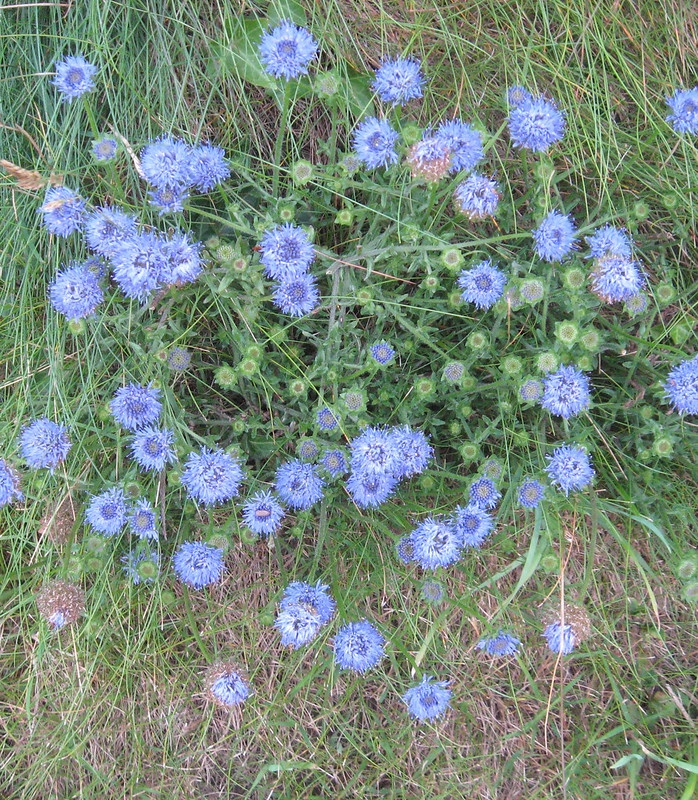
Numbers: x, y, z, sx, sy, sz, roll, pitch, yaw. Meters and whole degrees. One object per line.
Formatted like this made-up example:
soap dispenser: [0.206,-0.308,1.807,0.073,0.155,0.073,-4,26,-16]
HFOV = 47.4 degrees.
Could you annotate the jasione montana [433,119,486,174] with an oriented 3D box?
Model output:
jasione montana: [0.408,-0.964,2.997,0.143,0.154,0.222,-4,113,-5]

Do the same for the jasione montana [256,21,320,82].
jasione montana: [-0.243,-1.286,2.961,0.242,0.286,0.269,-6,113,-13]

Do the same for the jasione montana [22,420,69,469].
jasione montana: [-1.158,0.170,3.050,0.136,0.137,0.136,24,98,-10]

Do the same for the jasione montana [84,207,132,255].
jasione montana: [-0.910,-0.667,3.023,0.202,0.091,0.203,-5,83,-1]

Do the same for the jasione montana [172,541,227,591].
jasione montana: [-0.579,0.647,3.159,0.194,0.133,0.198,17,103,5]

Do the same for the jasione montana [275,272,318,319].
jasione montana: [-0.192,-0.386,2.983,0.159,0.070,0.164,-22,95,2]

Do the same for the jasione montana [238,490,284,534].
jasione montana: [-0.324,0.415,2.981,0.153,0.071,0.154,11,82,-9]

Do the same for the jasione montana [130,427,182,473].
jasione montana: [-0.749,0.196,3.112,0.195,0.291,0.177,4,86,1]

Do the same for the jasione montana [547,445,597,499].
jasione montana: [0.848,0.266,3.082,0.168,0.207,0.180,-31,86,-1]

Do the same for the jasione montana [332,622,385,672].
jasione montana: [0.033,0.941,3.042,0.189,0.142,0.188,31,87,2]

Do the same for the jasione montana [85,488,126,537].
jasione montana: [-0.906,0.423,2.999,0.171,0.066,0.172,12,80,-11]

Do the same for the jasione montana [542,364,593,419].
jasione montana: [0.811,-0.029,3.023,0.176,0.125,0.199,-5,86,0]

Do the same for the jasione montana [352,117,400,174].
jasione montana: [0.093,-0.941,2.948,0.190,0.094,0.191,2,102,18]

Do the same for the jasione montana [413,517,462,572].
jasione montana: [0.305,0.517,2.875,0.159,0.090,0.171,-30,87,-1]

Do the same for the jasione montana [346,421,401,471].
jasione montana: [0.094,0.187,2.950,0.186,0.245,0.163,3,86,1]

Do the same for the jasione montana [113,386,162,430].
jasione montana: [-0.807,0.037,3.112,0.198,0.301,0.175,7,86,2]

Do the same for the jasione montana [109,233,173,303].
jasione montana: [-0.725,-0.462,2.827,0.218,0.120,0.214,-35,90,4]

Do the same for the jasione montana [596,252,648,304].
jasione montana: [0.996,-0.446,3.013,0.180,0.123,0.183,29,92,2]

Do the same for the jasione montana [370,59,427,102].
jasione montana: [0.189,-1.209,3.083,0.194,0.110,0.197,7,107,6]

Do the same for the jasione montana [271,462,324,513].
jasione montana: [-0.185,0.316,3.031,0.175,0.086,0.177,29,112,3]

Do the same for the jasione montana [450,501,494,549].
jasione montana: [0.467,0.473,3.066,0.159,0.066,0.162,40,93,-9]

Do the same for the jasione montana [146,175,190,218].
jasione montana: [-0.694,-0.770,3.045,0.145,0.061,0.149,-16,102,3]

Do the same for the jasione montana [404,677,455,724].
jasione montana: [0.309,1.155,3.081,0.155,0.135,0.179,35,87,3]
